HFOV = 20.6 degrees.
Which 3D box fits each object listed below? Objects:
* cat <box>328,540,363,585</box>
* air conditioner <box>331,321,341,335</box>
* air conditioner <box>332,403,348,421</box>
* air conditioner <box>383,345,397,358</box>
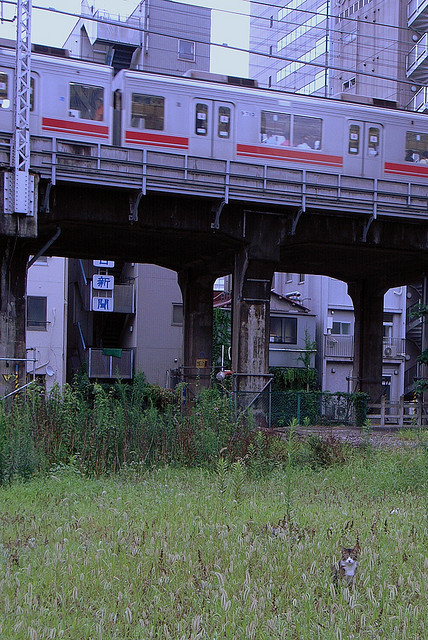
[{"bbox_3d":[1.118,2.083,10.155,0.223,0.270,0.318,1,-1,2],"label":"cat"},{"bbox_3d":[5.287,0.312,51.309,0.338,0.408,0.931,1,-2,35],"label":"air conditioner"},{"bbox_3d":[3.219,2.350,30.215,0.200,0.313,0.680,1,-2,33],"label":"air conditioner"},{"bbox_3d":[7.811,1.387,52.610,0.811,0.380,0.445,3,-1,-37],"label":"air conditioner"}]
